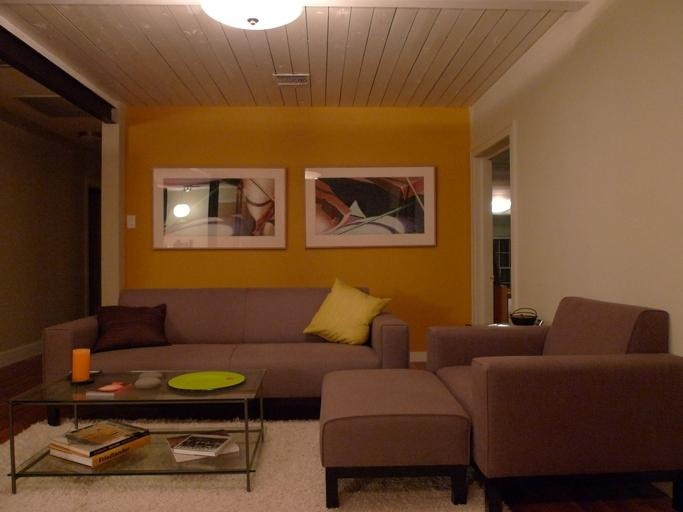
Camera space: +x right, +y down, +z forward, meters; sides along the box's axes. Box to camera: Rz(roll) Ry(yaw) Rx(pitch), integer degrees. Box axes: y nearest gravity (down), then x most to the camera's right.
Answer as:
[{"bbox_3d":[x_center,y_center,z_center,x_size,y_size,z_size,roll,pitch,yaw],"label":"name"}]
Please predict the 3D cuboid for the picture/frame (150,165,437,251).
[{"bbox_3d":[-0.452,-0.474,5.438,2.746,0.791,0.040,0,1,-2],"label":"picture/frame"}]

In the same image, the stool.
[{"bbox_3d":[0.282,0.955,3.237,0.626,0.405,0.839,-1,2,-1],"label":"stool"}]
